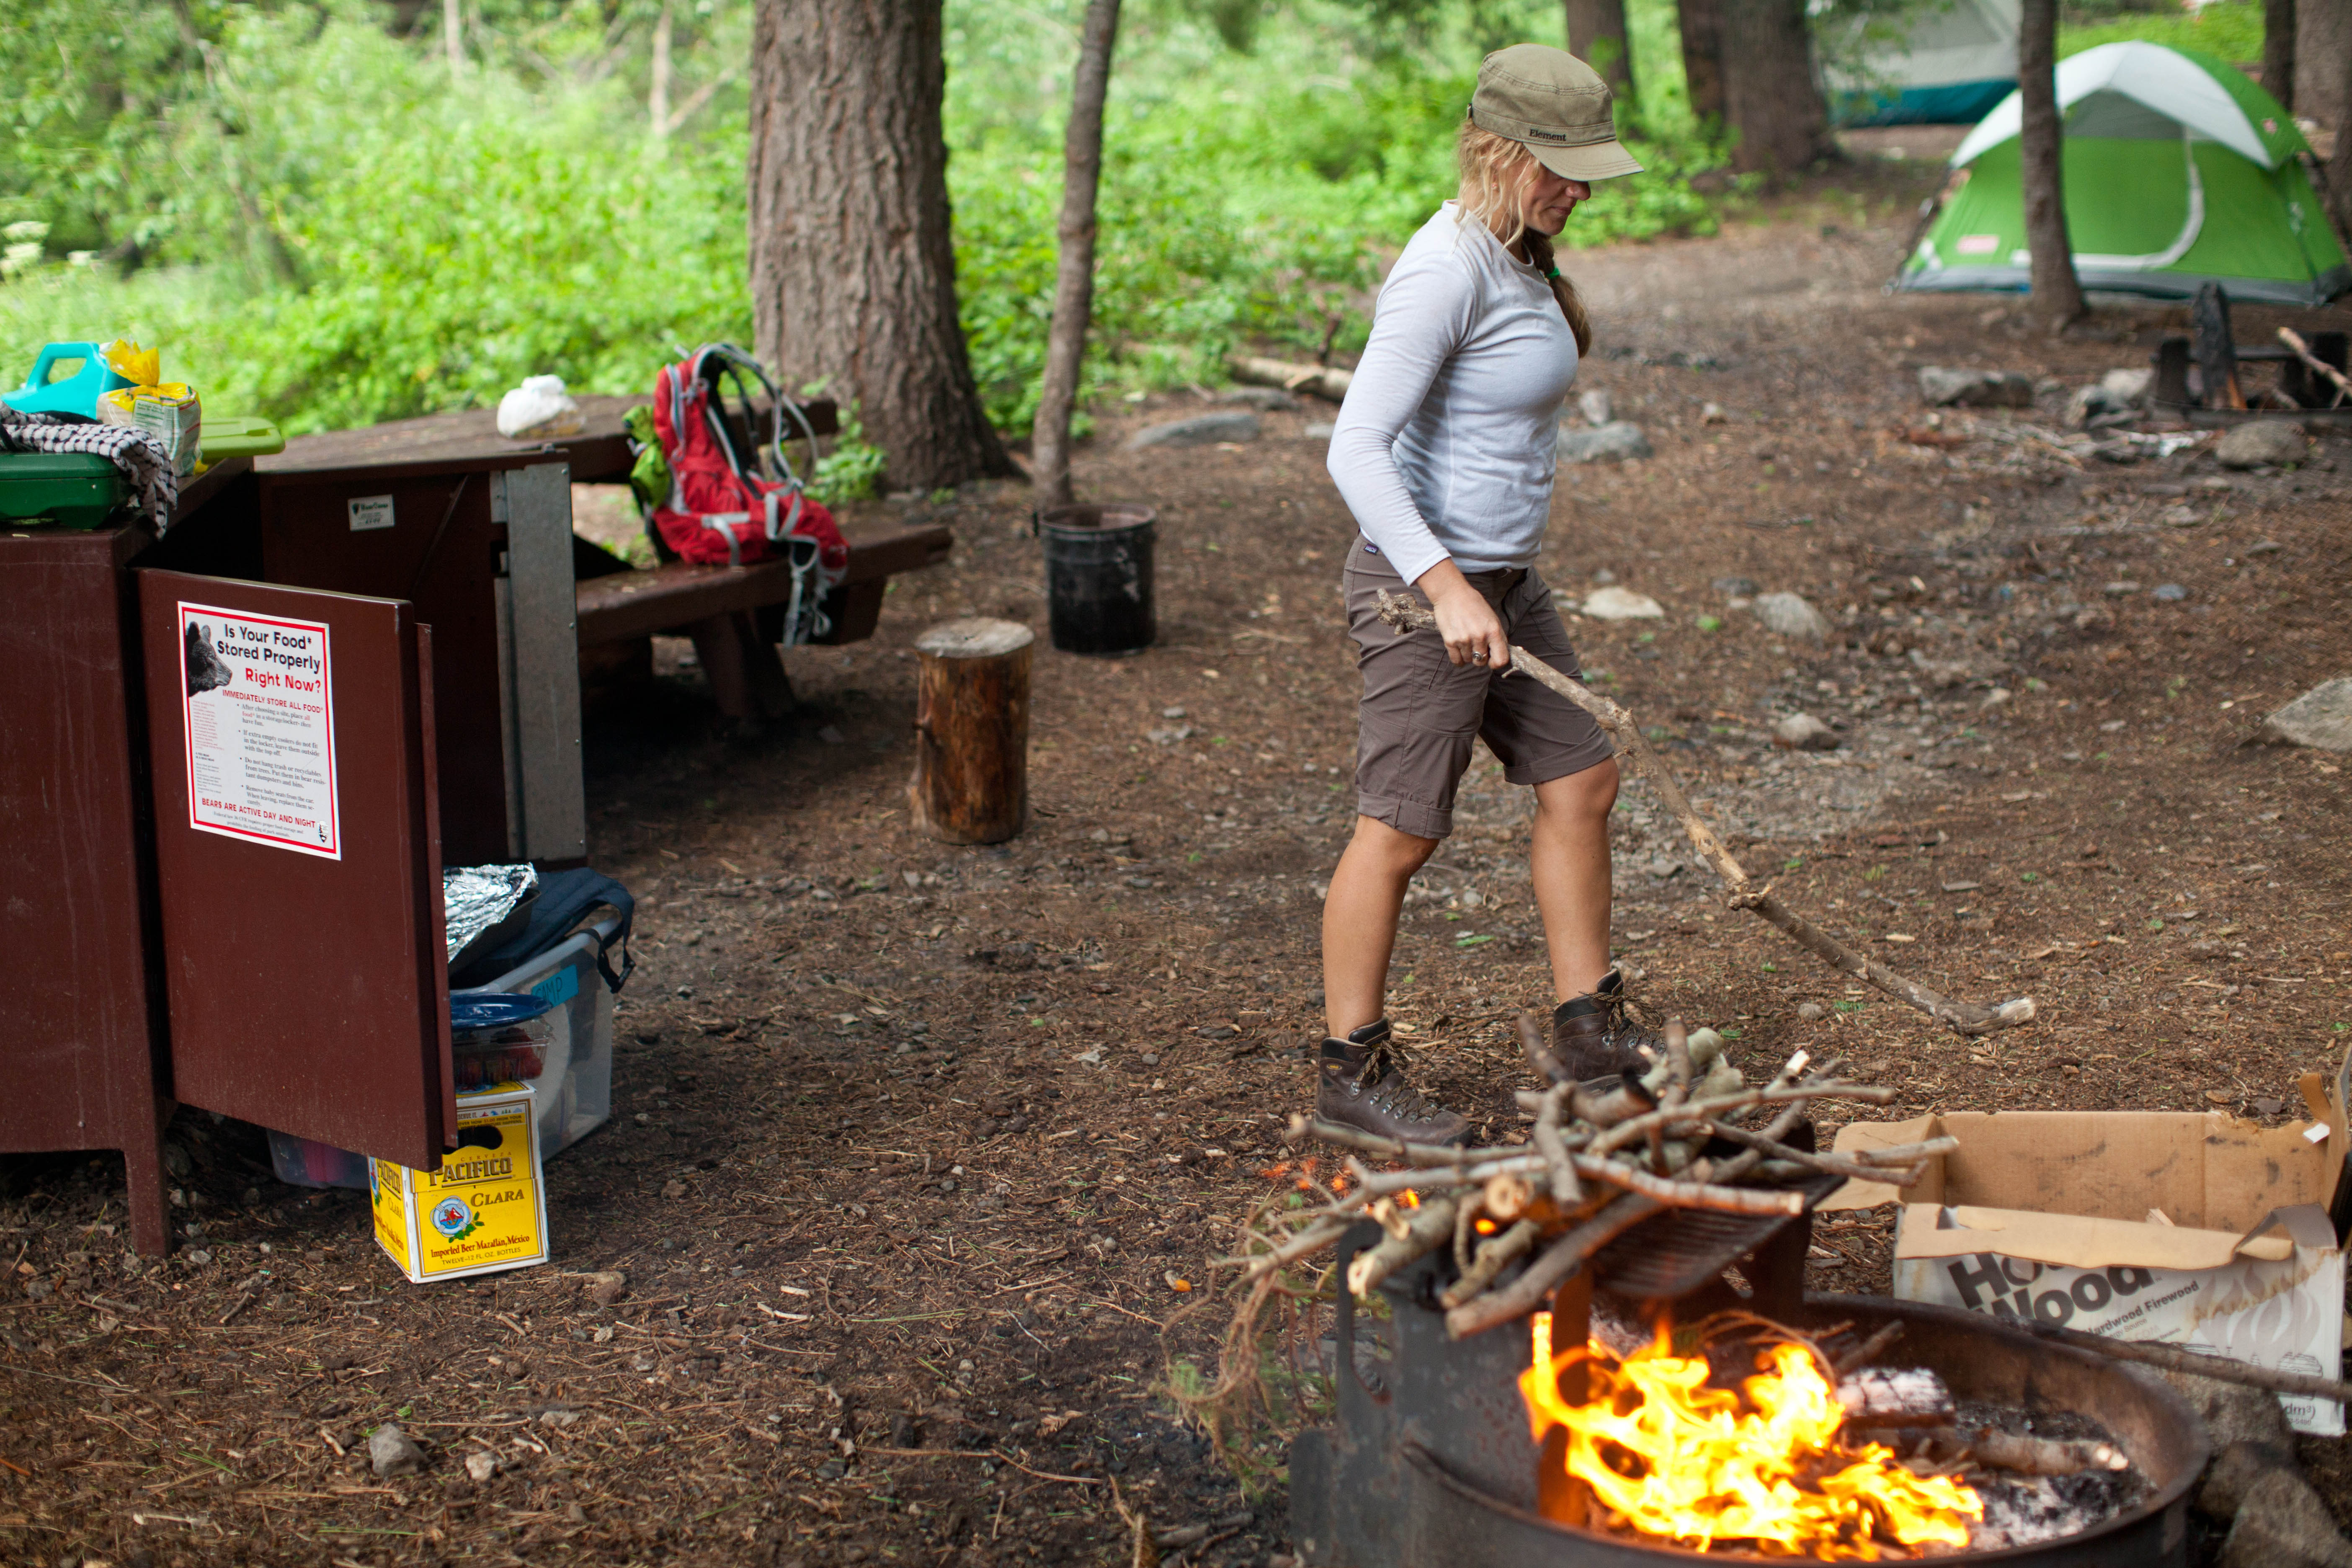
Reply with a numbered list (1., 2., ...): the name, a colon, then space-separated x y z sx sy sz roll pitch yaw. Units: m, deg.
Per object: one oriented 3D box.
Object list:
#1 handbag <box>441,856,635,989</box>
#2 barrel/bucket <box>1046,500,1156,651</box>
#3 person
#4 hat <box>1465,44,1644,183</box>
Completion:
1. handbag: -1.749 0.359 6.346 0.404 0.151 0.377 -4 12 -23
2. barrel/bucket: -0.318 -0.885 10.136 0.580 0.525 0.552 -2 17 1
3. person: 0.798 -0.483 6.128 1.126 2.821 0.725 -15 22 -28
4. hat: 1.011 -1.771 6.058 0.543 0.245 0.389 28 35 35
